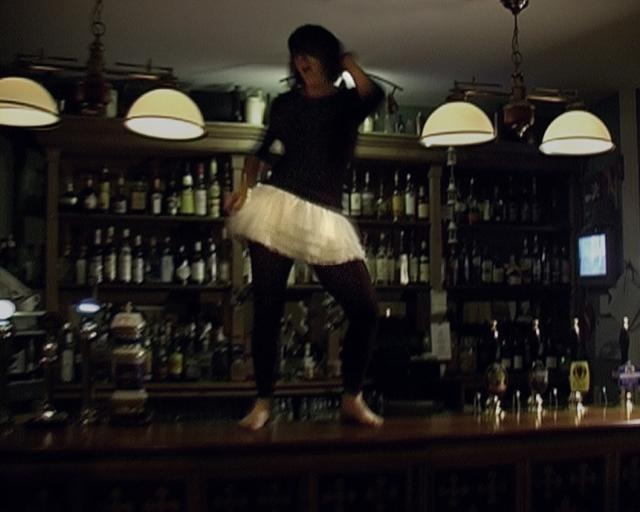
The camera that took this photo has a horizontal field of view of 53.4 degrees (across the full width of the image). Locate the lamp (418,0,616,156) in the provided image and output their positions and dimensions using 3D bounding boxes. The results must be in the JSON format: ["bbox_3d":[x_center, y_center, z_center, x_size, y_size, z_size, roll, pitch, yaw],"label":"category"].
[{"bbox_3d":[1.308,-1.222,4.286,0.852,0.684,0.396,5,-6,-13],"label":"lamp"}]

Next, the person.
[{"bbox_3d":[-0.061,-0.137,2.618,0.669,1.654,0.286,1,-4,4],"label":"person"}]
